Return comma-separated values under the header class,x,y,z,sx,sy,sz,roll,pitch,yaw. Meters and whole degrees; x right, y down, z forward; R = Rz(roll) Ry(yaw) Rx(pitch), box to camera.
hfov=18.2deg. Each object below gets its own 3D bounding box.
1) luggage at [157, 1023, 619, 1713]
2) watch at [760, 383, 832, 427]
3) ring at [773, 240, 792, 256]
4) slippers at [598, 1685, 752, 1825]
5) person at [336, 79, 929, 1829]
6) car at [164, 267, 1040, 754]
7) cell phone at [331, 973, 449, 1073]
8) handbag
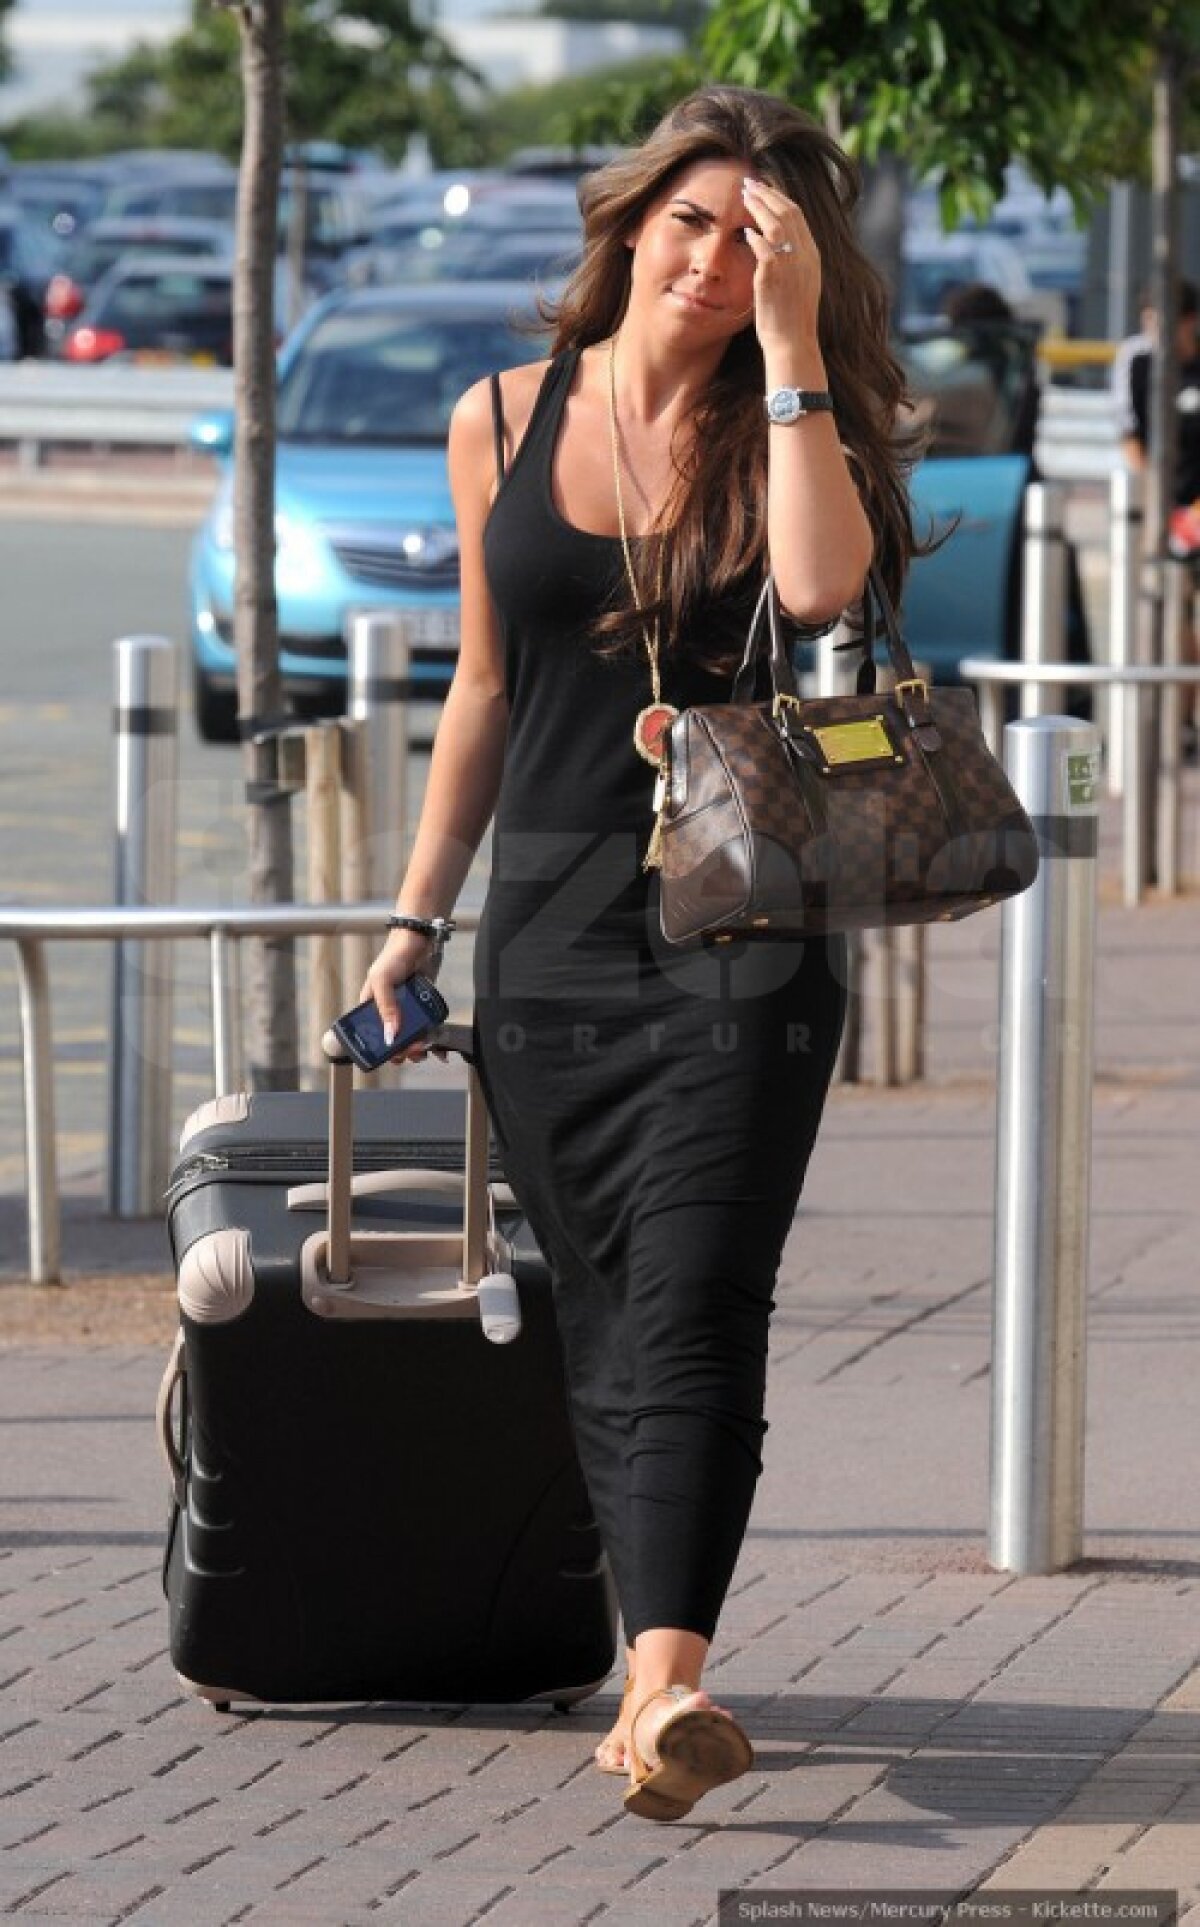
class,x,y,z,sx,sy,sz,roll,pitch,yaw
luggage,-0.276,0.577,4.409,0.539,0.911,0.479,6,-31,-11
watch,0.204,-0.569,3.849,0.054,0.036,0.056,-2,1,-23
ring,0.187,-0.727,3.832,0.015,0.013,0.022,4,3,-3
slippers,0.084,0.776,3.732,0.075,0.071,0.193,20,-47,-7
person,0.092,-0.042,3.940,0.525,1.728,0.780,-2,9,-18
car,-0.326,-1.359,10.175,1.373,1.194,2.354,-1,0,9
cell phone,-0.233,0.069,4.133,0.130,0.071,0.030,-32,-16,-21
handbag,0.241,-0.149,3.838,0.293,0.223,0.125,-3,-12,-25
